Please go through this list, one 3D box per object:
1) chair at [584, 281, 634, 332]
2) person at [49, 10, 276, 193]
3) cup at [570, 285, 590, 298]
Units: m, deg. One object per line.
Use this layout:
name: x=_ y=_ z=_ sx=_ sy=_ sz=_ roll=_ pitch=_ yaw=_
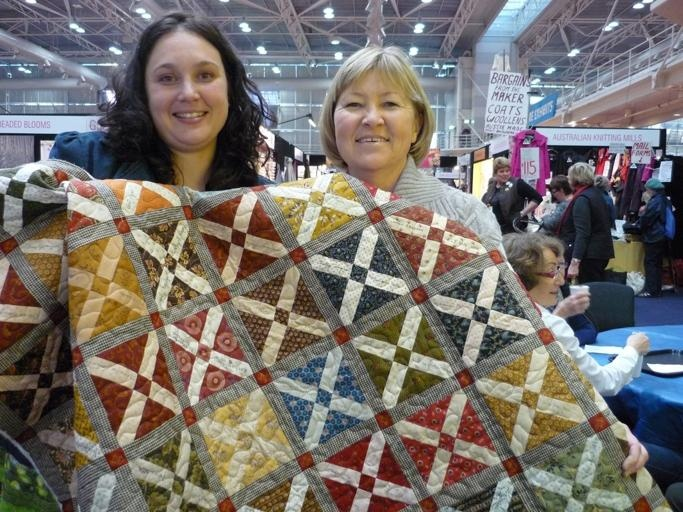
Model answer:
chair: x=1.876 y=0.368 z=3.885 sx=0.282 sy=0.399 sz=0.320 roll=-3 pitch=-6 yaw=8
person: x=-0.648 y=-0.580 z=2.121 sx=0.846 sy=0.655 sz=0.330 roll=-3 pitch=11 yaw=-30
cup: x=1.308 y=0.187 z=3.020 sx=0.083 sy=0.076 sz=0.097 roll=1 pitch=-6 yaw=-1
